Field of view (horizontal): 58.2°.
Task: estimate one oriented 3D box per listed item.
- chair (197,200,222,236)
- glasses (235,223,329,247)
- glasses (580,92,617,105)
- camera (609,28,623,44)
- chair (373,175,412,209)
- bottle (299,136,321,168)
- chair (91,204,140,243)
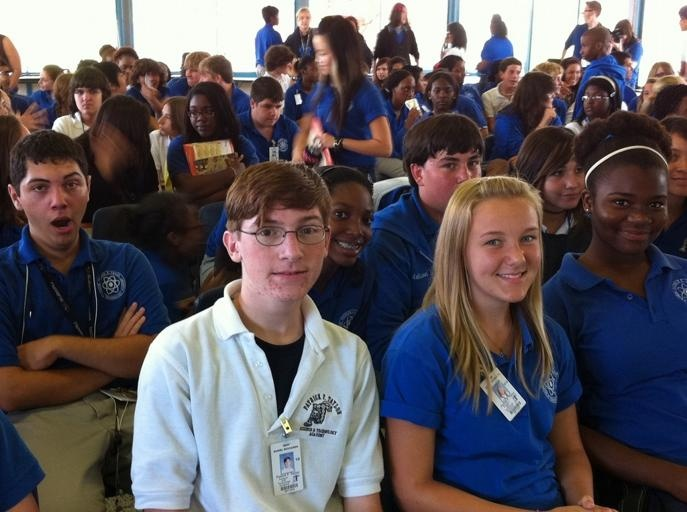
[{"bbox_3d":[-0.808,-0.235,3.715,0.172,0.222,0.179,0,-3,-28],"label":"chair"},{"bbox_3d":[-0.202,-0.071,2.087,0.292,0.068,0.068,0,13,-5],"label":"glasses"},{"bbox_3d":[2.269,-1.403,5.485,0.261,0.080,0.135,6,14,22],"label":"glasses"},{"bbox_3d":[4.326,-3.479,9.764,0.210,0.215,0.054,1,-7,11],"label":"camera"},{"bbox_3d":[0.277,-0.357,3.633,0.204,0.158,0.602,1,13,3],"label":"chair"},{"bbox_3d":[-0.225,-0.714,4.158,0.074,0.197,0.293,-6,14,-26],"label":"bottle"},{"bbox_3d":[-1.215,-0.156,3.277,0.191,0.209,0.243,0,0,-33],"label":"chair"}]
